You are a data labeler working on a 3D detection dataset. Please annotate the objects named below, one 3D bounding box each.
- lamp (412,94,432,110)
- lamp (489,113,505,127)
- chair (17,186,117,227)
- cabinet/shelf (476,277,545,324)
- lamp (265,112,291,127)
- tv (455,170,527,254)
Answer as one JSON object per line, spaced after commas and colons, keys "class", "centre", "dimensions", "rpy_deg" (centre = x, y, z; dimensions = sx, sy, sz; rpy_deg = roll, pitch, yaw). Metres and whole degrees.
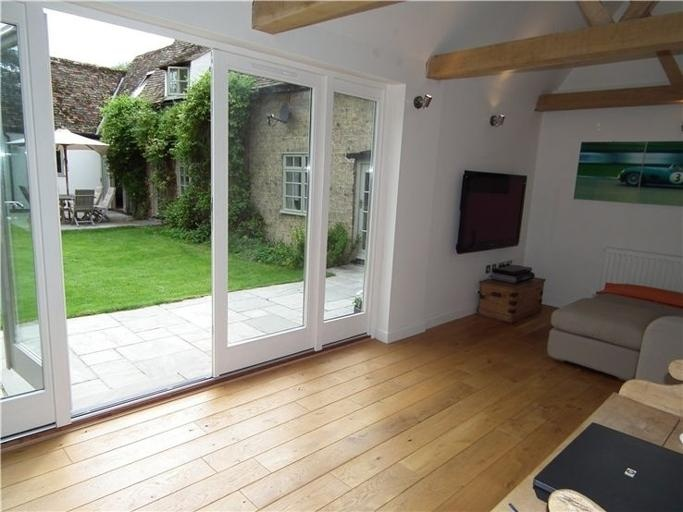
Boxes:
{"class": "lamp", "centre": [0.794, -1.491, 4.533], "dimensions": [0.138, 0.171, 0.182], "rpy_deg": [-6, 10, -44]}
{"class": "lamp", "centre": [1.819, -1.584, 5.422], "dimensions": [0.166, 0.041, 0.158], "rpy_deg": [4, -27, 10]}
{"class": "chair", "centre": [-6.457, -1.267, 11.776], "dimensions": [1.247, 0.867, 1.820], "rpy_deg": [-5, 12, -26]}
{"class": "cabinet/shelf", "centre": [2.088, 0.624, 5.730], "dimensions": [0.869, 0.403, 0.513], "rpy_deg": [-7, 16, -38]}
{"class": "lamp", "centre": [-0.522, -1.122, 3.808], "dimensions": [0.171, 0.107, 0.077], "rpy_deg": [-18, 8, -26]}
{"class": "tv", "centre": [1.745, -0.541, 5.508], "dimensions": [1.120, 0.713, 0.046], "rpy_deg": [-11, 21, -42]}
